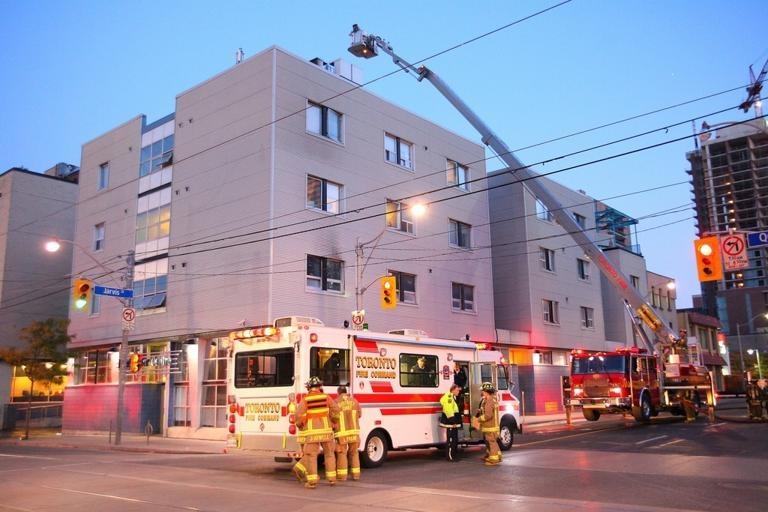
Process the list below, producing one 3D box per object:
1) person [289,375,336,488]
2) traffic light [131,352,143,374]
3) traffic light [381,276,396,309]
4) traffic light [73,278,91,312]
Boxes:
[{"bbox_3d":[-1.966,4.947,16.633,1.101,2.951,0.892,-1,-18,-9],"label":"person"},{"bbox_3d":[-12.170,5.194,28.900,0.475,1.013,1.186,5,-19,-25],"label":"traffic light"},{"bbox_3d":[0.223,1.637,28.456,0.664,1.581,0.755,-1,-18,-8],"label":"traffic light"},{"bbox_3d":[-13.624,1.701,26.716,0.626,1.460,0.638,9,-22,-35],"label":"traffic light"}]
